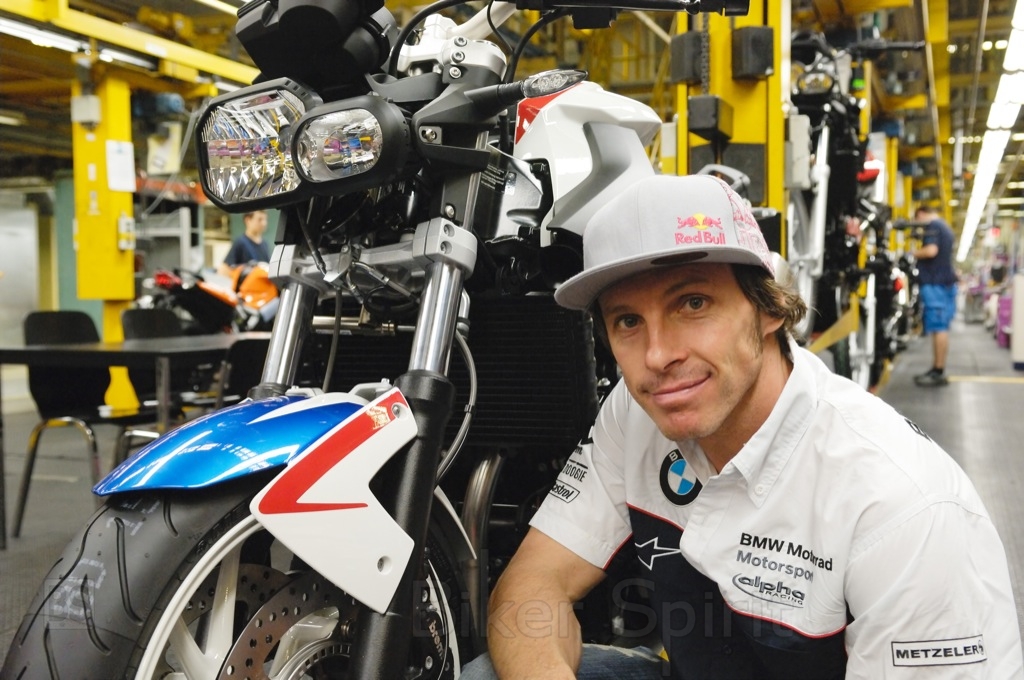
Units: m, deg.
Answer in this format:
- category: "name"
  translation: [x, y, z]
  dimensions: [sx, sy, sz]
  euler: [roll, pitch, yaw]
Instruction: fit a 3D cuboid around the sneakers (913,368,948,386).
- category: "sneakers"
  translation: [4.371, 0.383, 9.461]
  dimensions: [0.408, 0.215, 0.155]
  euler: [0, 5, 8]
